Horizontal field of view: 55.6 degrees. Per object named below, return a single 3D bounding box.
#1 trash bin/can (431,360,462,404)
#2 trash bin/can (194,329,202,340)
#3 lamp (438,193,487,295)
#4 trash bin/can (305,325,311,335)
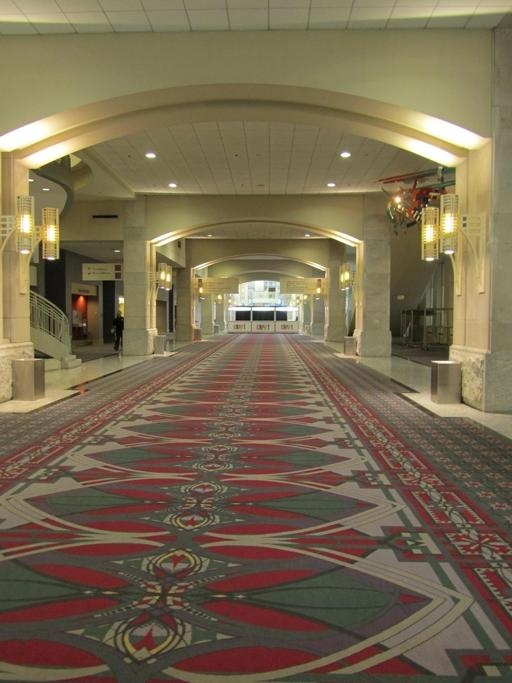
[{"bbox_3d":[2.590,0.561,6.679,0.412,0.374,0.325,1,1,27],"label":"trash bin/can"},{"bbox_3d":[-2.889,-0.332,23.838,0.393,0.719,0.722,0,3,-1],"label":"trash bin/can"},{"bbox_3d":[2.723,-1.347,6.509,0.533,1.218,0.710,-2,20,10],"label":"lamp"},{"bbox_3d":[3.797,-0.891,36.162,0.600,0.676,0.599,-1,-2,2],"label":"trash bin/can"}]
